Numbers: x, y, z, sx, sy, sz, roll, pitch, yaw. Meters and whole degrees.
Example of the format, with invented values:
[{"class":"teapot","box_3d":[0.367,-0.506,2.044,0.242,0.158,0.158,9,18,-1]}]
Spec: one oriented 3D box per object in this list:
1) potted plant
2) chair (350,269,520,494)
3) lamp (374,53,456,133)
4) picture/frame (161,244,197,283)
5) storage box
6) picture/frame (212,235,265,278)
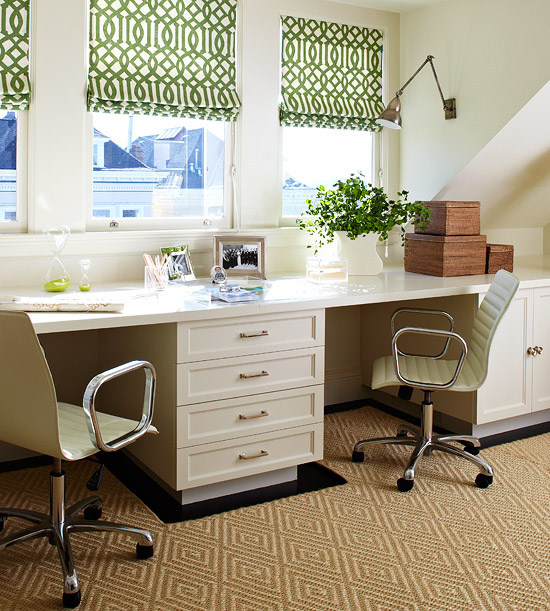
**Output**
[{"class":"potted plant","box_3d":[0.427,-0.398,2.887,0.670,0.471,0.646,-1,8,-18]},{"class":"chair","box_3d":[0.451,0.262,2.724,0.932,1.089,0.814,1,5,0]},{"class":"lamp","box_3d":[0.735,-1.104,2.940,0.459,0.351,0.175,-6,23,-15]},{"class":"picture/frame","box_3d":[-0.439,-0.189,2.511,0.016,0.198,0.191,-14,3,40]},{"class":"storage box","box_3d":[0.918,-0.303,2.932,0.601,0.367,0.407,-4,7,-26]},{"class":"picture/frame","box_3d":[-0.166,-0.218,2.534,0.229,0.167,0.014,2,4,-9]}]
